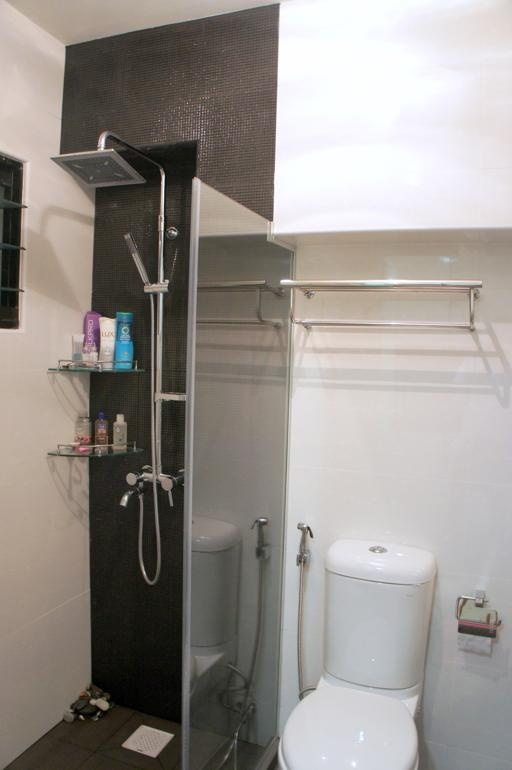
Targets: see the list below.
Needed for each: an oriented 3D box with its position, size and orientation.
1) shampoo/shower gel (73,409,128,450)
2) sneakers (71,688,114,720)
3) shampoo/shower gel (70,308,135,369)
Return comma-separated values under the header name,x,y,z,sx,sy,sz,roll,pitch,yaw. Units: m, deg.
name,x,y,z,sx,sy,sz,roll,pitch,yaw
shampoo/shower gel,-0.592,0.174,2.349,0.139,0.122,0.043,2,-4,-41
sneakers,-0.644,1.255,2.405,0.133,0.062,0.177,4,0,8
shampoo/shower gel,-0.555,-0.164,2.278,0.208,0.220,0.133,3,0,-12
